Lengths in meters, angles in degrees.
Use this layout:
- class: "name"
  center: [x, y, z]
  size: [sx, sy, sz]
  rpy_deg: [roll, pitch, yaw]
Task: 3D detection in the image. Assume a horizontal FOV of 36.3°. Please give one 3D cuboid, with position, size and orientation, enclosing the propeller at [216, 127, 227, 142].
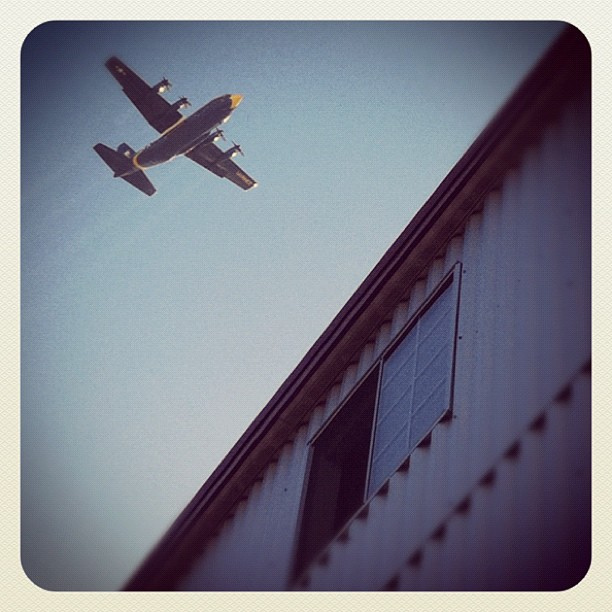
- class: "propeller"
  center: [-0.305, -0.610, 3.355]
  size: [0.033, 0.012, 0.033]
  rpy_deg: [-19, -43, 37]

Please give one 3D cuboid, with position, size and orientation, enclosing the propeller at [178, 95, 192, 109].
- class: "propeller"
  center: [-0.430, -0.728, 3.319]
  size: [0.021, 0.027, 0.054]
  rpy_deg: [-10, -98, 8]

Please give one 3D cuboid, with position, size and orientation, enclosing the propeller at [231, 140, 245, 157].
- class: "propeller"
  center: [-0.245, -0.570, 3.373]
  size: [0.034, 0.073, 0.026]
  rpy_deg: [-24, -21, -13]

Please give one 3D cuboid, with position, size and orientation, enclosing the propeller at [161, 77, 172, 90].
- class: "propeller"
  center: [-0.495, -0.787, 3.292]
  size: [0.039, 0.010, 0.033]
  rpy_deg: [-6, -100, 18]
